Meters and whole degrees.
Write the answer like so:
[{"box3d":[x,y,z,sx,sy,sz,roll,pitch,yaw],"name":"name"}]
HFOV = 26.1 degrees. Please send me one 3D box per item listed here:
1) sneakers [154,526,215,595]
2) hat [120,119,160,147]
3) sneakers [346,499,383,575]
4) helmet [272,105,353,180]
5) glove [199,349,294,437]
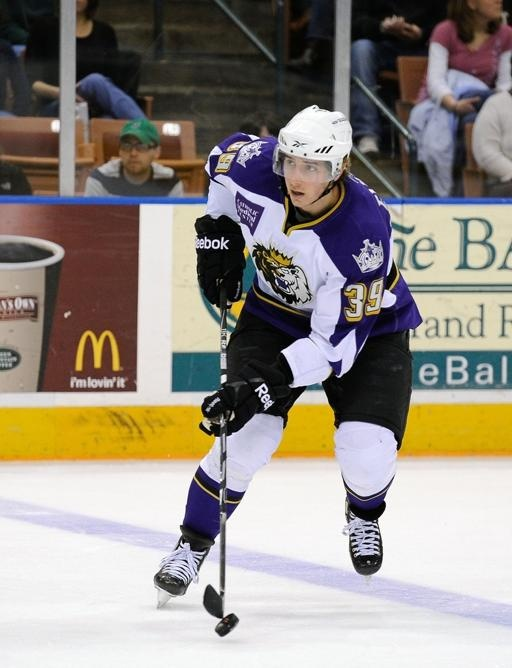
[{"box3d":[-0.204,0.661,3.223,0.116,0.095,0.246,24,28,0],"name":"sneakers"},{"box3d":[-0.494,-0.860,4.753,0.109,0.070,0.143,7,-13,15],"name":"hat"},{"box3d":[0.333,0.634,3.429,0.083,0.087,0.220,-8,45,8],"name":"sneakers"},{"box3d":[0.171,-0.559,3.072,0.184,0.207,0.230,19,33,23],"name":"helmet"},{"box3d":[-0.019,0.148,3.094,0.294,0.165,0.094,-37,36,-22],"name":"glove"}]
